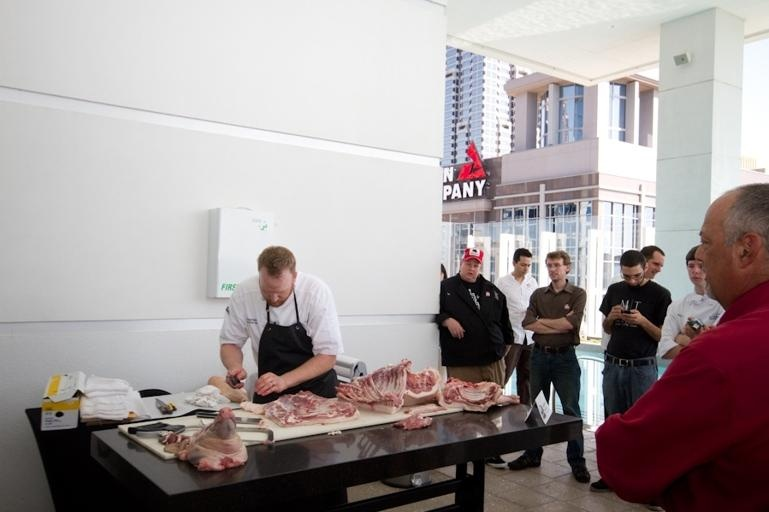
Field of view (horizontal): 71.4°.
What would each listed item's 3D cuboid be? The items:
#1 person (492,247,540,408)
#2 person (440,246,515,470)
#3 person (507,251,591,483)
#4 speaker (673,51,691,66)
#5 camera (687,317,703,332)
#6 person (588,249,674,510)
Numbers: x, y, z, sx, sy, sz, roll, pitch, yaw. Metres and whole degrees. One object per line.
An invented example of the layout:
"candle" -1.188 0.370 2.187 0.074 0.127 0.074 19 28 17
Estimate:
"person" 1.656 0.895 6.881 0.558 1.921 0.706 1 -1 -26
"person" 0.889 1.039 5.718 0.843 2.173 0.724 3 10 0
"person" 1.922 0.935 5.757 0.819 2.631 0.993 -1 -2 42
"speaker" 3.725 -2.487 6.752 0.111 0.144 0.193 -29 10 -26
"camera" 2.343 0.531 4.104 0.085 0.107 0.111 -26 13 37
"person" 2.292 1.062 5.133 0.640 2.133 0.682 -7 8 -44
